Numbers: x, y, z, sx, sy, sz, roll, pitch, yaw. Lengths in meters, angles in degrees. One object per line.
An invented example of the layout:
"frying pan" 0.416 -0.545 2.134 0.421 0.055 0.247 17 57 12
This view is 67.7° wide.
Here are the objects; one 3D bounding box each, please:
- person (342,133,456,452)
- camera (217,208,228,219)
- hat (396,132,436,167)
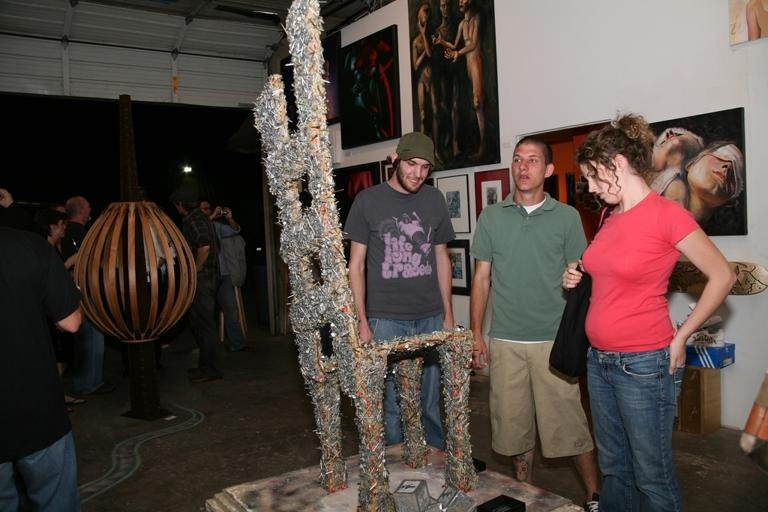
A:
"person" 0.162 0.327 4.224 0.830 2.403 0.556 -4 9 -5
"camera" -2.545 -0.680 9.060 0.178 0.191 0.109 8 16 -24
"hat" 0.244 -0.772 4.069 0.266 0.196 0.379 6 11 -3
